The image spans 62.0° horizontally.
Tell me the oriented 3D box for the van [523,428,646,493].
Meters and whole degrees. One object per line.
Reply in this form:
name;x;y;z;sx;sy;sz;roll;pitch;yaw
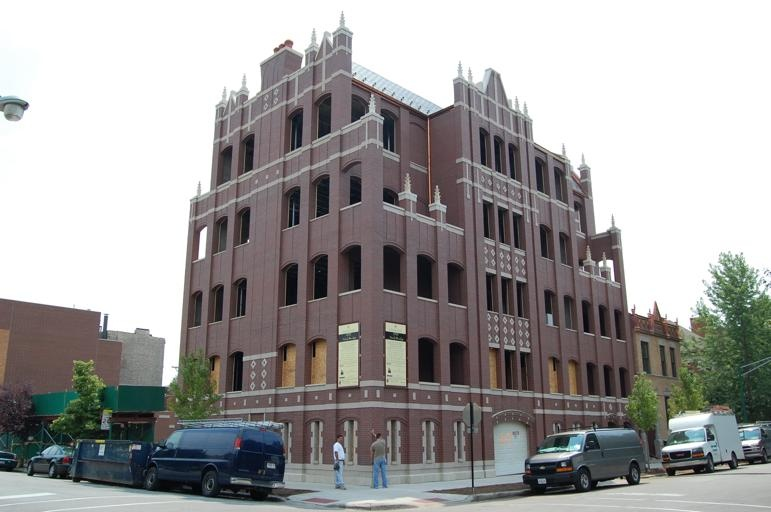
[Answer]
van;10.716;10.928;34.718;6.980;3.277;1.848;9;-24;-26

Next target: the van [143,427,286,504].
van;-8.862;10.744;33.756;7.863;3.992;3.875;-13;-24;25

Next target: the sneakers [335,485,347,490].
sneakers;-2.463;12.570;35.087;0.230;0.257;0.615;13;-20;-43

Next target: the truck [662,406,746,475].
truck;21.131;12.260;42.863;6.012;4.087;2.138;9;-24;-27

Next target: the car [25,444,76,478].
car;-22.592;13.744;43.112;1.656;2.250;5.467;15;-27;-37
